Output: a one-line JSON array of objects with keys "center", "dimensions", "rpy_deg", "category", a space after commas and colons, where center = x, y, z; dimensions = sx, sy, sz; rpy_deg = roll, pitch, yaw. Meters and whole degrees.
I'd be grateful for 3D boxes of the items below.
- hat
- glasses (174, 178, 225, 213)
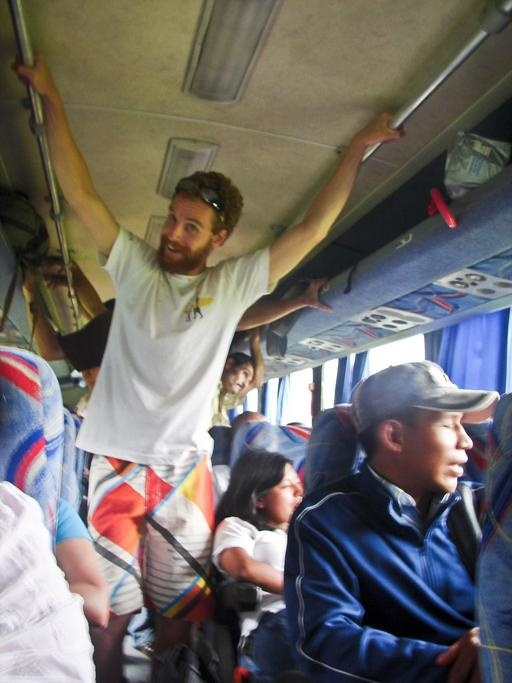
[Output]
[{"center": [0.428, 0.137, 1.401], "dimensions": [0.379, 0.149, 0.229], "rpy_deg": [-17, -18, 24], "category": "hat"}, {"center": [-0.175, -0.441, 1.618], "dimensions": [0.119, 0.037, 0.116], "rpy_deg": [27, -20, 22], "category": "glasses"}]
